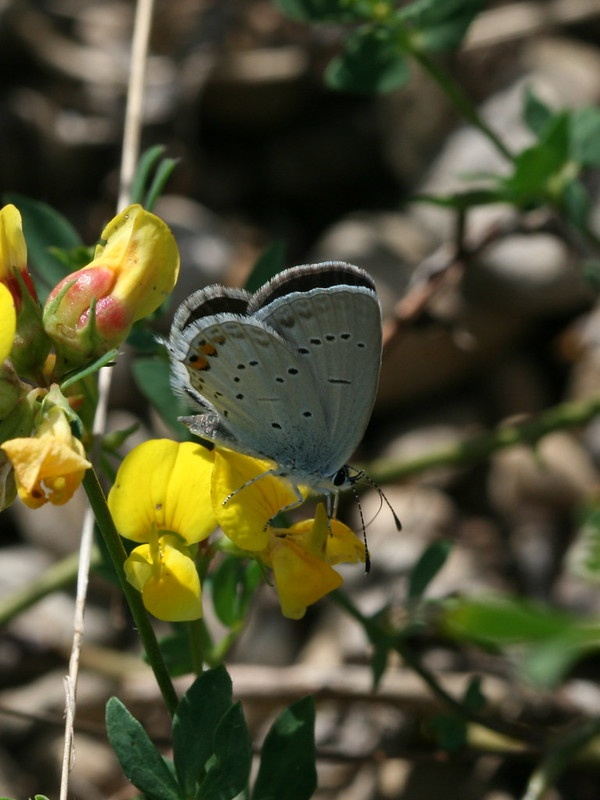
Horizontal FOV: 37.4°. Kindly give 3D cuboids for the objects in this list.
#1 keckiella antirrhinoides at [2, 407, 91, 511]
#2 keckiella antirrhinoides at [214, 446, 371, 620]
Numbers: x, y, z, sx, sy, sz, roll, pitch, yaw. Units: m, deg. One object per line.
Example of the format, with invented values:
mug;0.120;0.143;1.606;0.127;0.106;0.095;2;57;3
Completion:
keckiella antirrhinoides;-0.414;0.101;1.482;0.154;0.164;0.144;-37;82;-4
keckiella antirrhinoides;-0.039;0.275;1.836;0.233;0.404;0.347;-36;78;-7
